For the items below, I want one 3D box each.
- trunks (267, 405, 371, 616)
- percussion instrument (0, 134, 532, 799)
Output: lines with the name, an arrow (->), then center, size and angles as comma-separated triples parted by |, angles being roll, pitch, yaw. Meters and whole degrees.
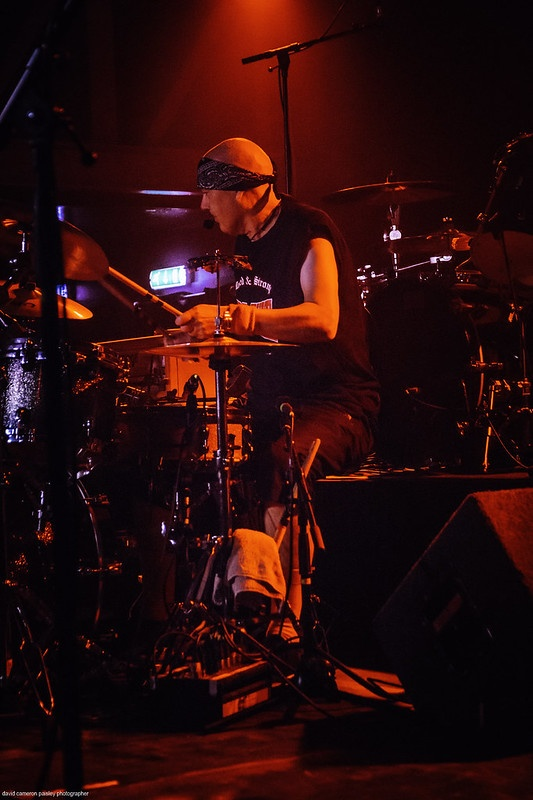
trunks -> 0.104, 0.394, 2.567 | 0.365, 0.500, 0.294 | -10, 21, -4
percussion instrument -> -0.119, 0.008, 3.597 | 1.603, 2.515, 1.131 | 2, -11, -14
